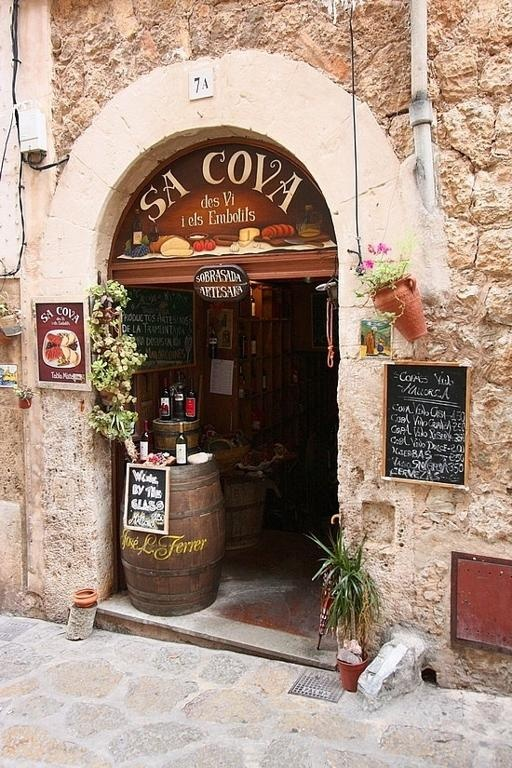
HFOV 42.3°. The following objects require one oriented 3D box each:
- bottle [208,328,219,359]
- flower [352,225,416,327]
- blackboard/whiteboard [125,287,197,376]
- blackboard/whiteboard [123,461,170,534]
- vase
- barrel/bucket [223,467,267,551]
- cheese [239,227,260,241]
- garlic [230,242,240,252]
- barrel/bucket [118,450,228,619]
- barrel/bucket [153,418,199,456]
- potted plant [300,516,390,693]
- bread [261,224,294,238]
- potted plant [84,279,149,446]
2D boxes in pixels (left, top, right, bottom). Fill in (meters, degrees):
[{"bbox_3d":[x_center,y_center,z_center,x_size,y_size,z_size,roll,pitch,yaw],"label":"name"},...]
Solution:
[{"bbox_3d":[-0.363,-0.348,5.720,0.068,0.257,0.074,-4,7,1],"label":"bottle"},{"bbox_3d":[0.660,-0.456,3.177,0.291,0.317,0.363,-14,-38,32],"label":"flower"},{"bbox_3d":[-0.796,-0.428,5.136,0.022,0.614,1.057,-9,9,-41],"label":"blackboard/whiteboard"},{"bbox_3d":[-0.663,0.718,4.119,0.438,0.532,0.036,-3,-9,34],"label":"blackboard/whiteboard"},{"bbox_3d":[0.708,-0.361,3.205,0.226,0.301,0.274,-21,2,-36],"label":"vase"},{"bbox_3d":[-0.085,0.998,5.433,0.512,0.560,0.563,0,2,0],"label":"barrel/bucket"},{"bbox_3d":[-0.035,-0.875,3.879,0.087,0.054,0.089,4,15,11],"label":"cheese"},{"bbox_3d":[-0.125,-0.813,3.946,0.056,0.060,0.056,-4,19,-18],"label":"garlic"},{"bbox_3d":[-0.566,0.907,4.663,0.866,1.165,0.857,0,6,0],"label":"barrel/bucket"},{"bbox_3d":[-0.531,0.351,4.555,0.249,0.228,0.239,1,4,0],"label":"barrel/bucket"},{"bbox_3d":[0.453,1.165,3.466,0.390,0.846,0.352,-6,-20,26],"label":"potted plant"},{"bbox_3d":[0.130,-0.867,3.767,0.148,0.076,0.062,-12,-38,5],"label":"bread"},{"bbox_3d":[-0.905,-0.121,4.242,0.386,1.058,0.321,-2,8,19],"label":"potted plant"}]
